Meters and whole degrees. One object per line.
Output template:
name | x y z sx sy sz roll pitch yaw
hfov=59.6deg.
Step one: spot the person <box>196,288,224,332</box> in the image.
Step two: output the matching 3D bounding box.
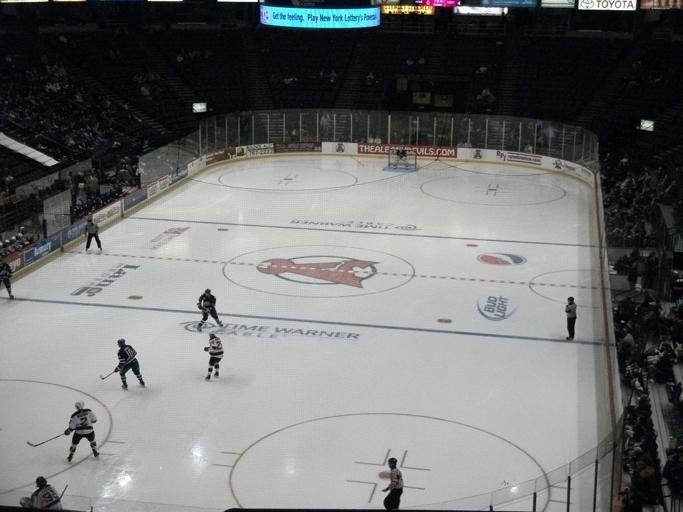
person | -4.483 1.875 20.258 1.038 1.856 1.011 0 33 -4
